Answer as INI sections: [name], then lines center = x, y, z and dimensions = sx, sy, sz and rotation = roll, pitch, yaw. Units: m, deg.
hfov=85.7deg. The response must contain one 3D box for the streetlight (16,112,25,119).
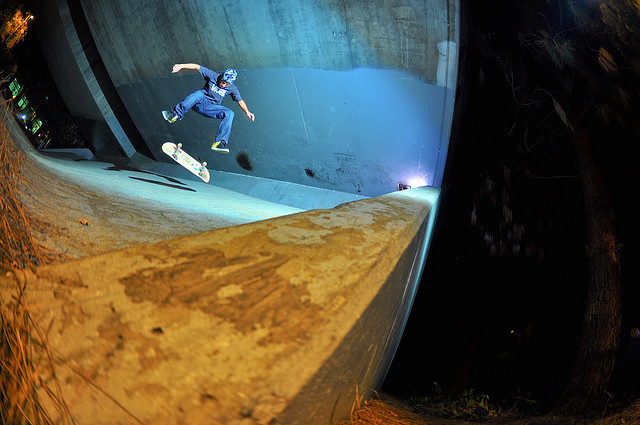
[streetlight]
center = -7.677, -2.450, 8.780
dimensions = 0.087, 0.165, 0.587
rotation = -3, 13, -33
